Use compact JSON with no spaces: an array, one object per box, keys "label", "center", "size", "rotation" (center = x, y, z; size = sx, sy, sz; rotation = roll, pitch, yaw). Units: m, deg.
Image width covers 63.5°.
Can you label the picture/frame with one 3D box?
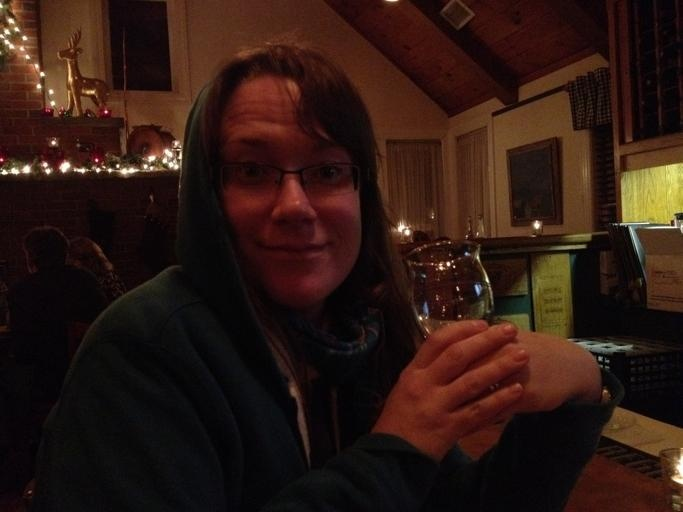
[{"label":"picture/frame","center":[2.181,-0.817,6.285],"size":[0.063,0.968,0.894],"rotation":[-4,2,-21]}]

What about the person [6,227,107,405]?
[{"label":"person","center":[-2.054,0.374,3.714],"size":[0.509,0.493,1.521],"rotation":[5,-43,-38]}]
